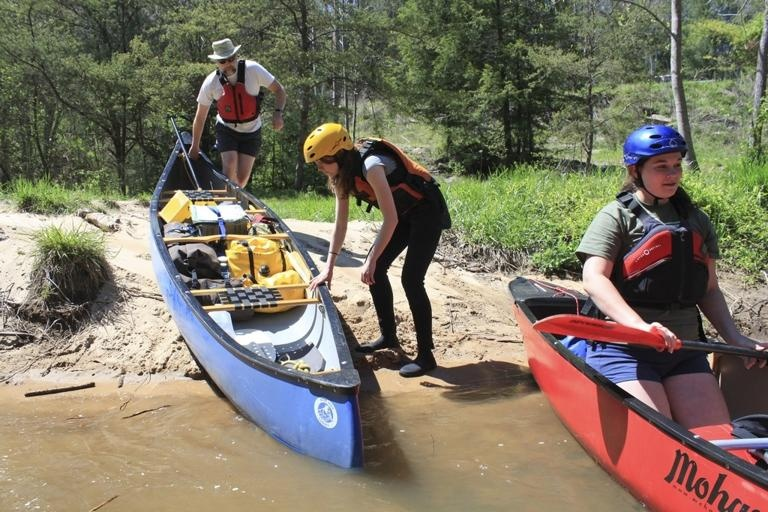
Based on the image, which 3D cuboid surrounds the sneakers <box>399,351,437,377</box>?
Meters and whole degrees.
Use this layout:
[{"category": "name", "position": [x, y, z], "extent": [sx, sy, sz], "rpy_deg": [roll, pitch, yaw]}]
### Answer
[{"category": "sneakers", "position": [0.342, 1.080, 6.381], "extent": [0.391, 0.164, 0.172], "rpy_deg": [-4, 3, -44]}]

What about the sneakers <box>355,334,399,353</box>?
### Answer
[{"category": "sneakers", "position": [-0.057, 0.894, 6.550], "extent": [0.514, 0.228, 0.171], "rpy_deg": [2, -2, -5]}]

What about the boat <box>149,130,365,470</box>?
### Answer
[{"category": "boat", "position": [-1.489, 0.220, 6.812], "extent": [1.207, 0.883, 5.022], "rpy_deg": [-11, 33, -16]}]

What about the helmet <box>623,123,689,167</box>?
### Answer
[{"category": "helmet", "position": [2.118, -0.860, 5.040], "extent": [0.373, 0.293, 0.482], "rpy_deg": [-5, 9, -24]}]

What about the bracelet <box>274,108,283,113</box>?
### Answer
[{"category": "bracelet", "position": [-1.301, -1.784, 7.854], "extent": [0.070, 0.047, 0.074], "rpy_deg": [8, 7, 6]}]

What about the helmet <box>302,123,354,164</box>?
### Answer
[{"category": "helmet", "position": [-0.531, -1.037, 5.680], "extent": [0.476, 0.262, 0.332], "rpy_deg": [-20, 29, -16]}]
